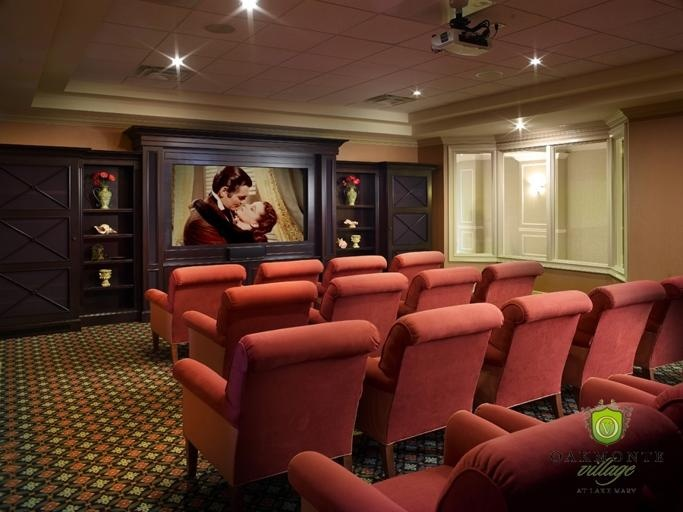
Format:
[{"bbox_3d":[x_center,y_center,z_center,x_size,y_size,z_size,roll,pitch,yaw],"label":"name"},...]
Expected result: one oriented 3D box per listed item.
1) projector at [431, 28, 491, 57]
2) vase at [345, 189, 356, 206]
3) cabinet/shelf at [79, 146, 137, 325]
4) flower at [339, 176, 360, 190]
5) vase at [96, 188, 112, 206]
[{"bbox_3d":[1.169,-2.061,4.255,0.567,0.177,0.252,-2,7,-13],"label":"projector"},{"bbox_3d":[0.205,-1.205,9.154,0.227,0.308,0.127,8,1,-19],"label":"vase"},{"bbox_3d":[-3.557,-0.299,6.834,0.907,2.558,0.602,-5,8,-29],"label":"cabinet/shelf"},{"bbox_3d":[0.178,-1.505,9.234,0.324,0.341,0.330,1,8,-13],"label":"flower"},{"bbox_3d":[-3.651,-0.897,6.862,0.224,0.329,0.267,-5,9,-35],"label":"vase"}]
